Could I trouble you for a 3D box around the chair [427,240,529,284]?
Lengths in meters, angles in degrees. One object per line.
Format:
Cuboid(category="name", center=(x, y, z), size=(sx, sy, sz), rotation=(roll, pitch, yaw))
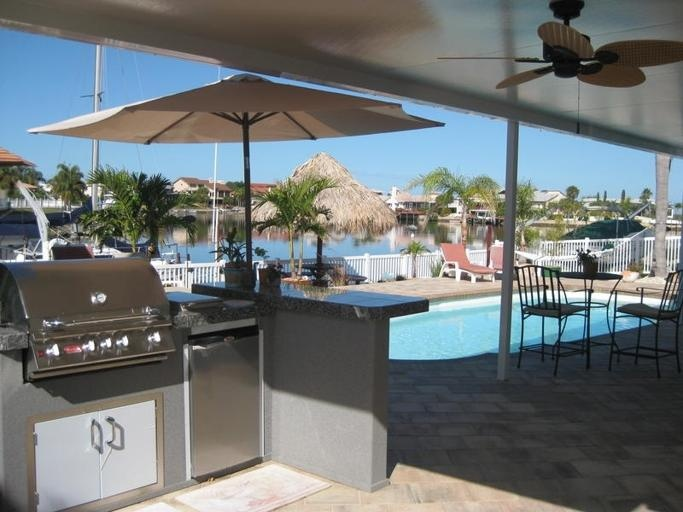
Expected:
Cuboid(category="chair", center=(3.444, 0.182, 13.696), size=(1.248, 0.969, 1.881), rotation=(-2, 2, -30))
